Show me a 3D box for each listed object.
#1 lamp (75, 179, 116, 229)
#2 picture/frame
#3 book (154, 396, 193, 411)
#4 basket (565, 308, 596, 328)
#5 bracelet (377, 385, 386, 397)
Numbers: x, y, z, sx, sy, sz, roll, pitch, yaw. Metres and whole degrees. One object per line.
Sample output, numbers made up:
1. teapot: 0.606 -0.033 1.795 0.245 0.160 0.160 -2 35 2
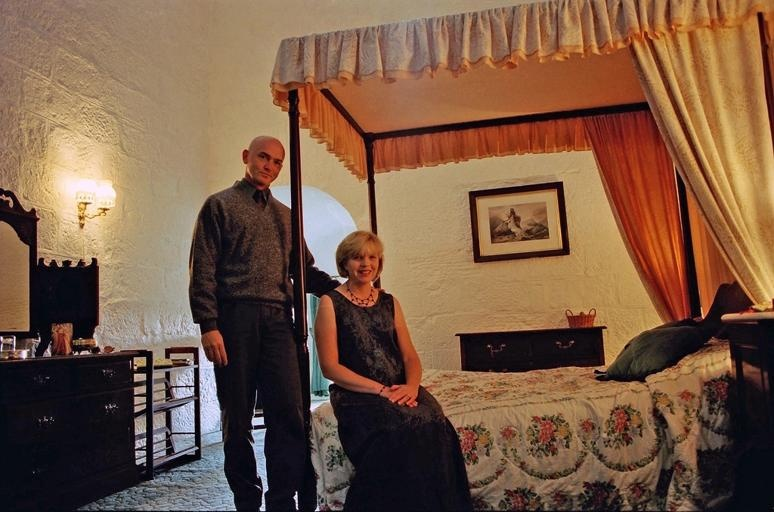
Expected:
1. lamp: -3.000 -0.536 6.425 0.280 0.548 0.490 -3 -4 16
2. picture/frame: 1.739 -0.425 7.971 0.918 0.817 0.092 -4 2 10
3. book: -2.135 1.474 6.273 0.300 0.088 0.312 -3 -3 -12
4. basket: 2.268 0.753 7.392 0.295 0.191 0.302 1 -10 -3
5. bracelet: -0.041 0.943 4.367 0.042 0.061 0.022 2 -45 19
